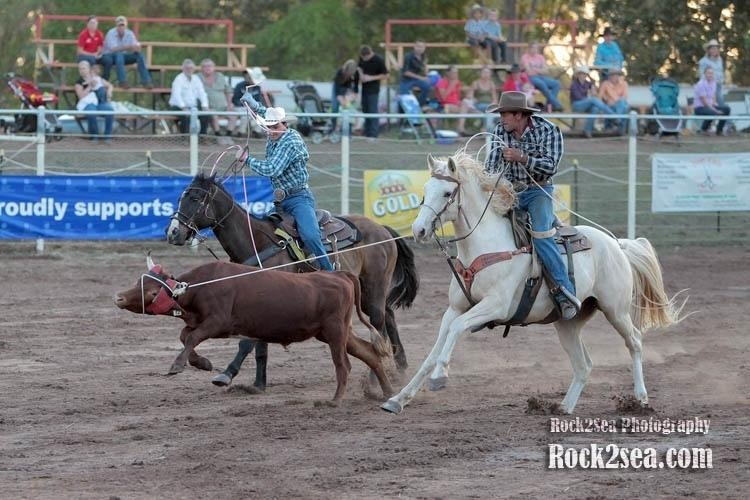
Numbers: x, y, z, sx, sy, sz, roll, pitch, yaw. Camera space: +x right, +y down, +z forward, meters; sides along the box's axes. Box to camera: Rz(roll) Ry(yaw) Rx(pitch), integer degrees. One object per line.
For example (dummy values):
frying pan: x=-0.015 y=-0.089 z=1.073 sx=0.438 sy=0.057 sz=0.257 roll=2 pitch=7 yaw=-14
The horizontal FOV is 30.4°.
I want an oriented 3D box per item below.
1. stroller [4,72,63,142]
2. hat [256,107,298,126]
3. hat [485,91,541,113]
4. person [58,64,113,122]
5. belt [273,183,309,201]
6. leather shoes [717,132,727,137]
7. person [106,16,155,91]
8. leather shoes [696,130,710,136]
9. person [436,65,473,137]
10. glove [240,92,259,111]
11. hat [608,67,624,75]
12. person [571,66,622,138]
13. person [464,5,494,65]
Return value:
stroller: x=-7.431 y=-3.129 z=30.895 sx=1.109 sy=1.298 sz=2.338 roll=0 pitch=16 yaw=-35
hat: x=-1.707 y=-2.195 z=22.981 sx=0.582 sy=0.306 sz=0.366 roll=-4 pitch=7 yaw=-22
hat: x=2.256 y=-2.361 z=22.223 sx=0.761 sy=0.345 sz=0.432 roll=0 pitch=7 yaw=8
person: x=-6.317 y=-3.534 z=30.858 sx=0.956 sy=1.393 sz=0.712 roll=-5 pitch=-19 yaw=-10
belt: x=-1.413 y=-0.962 z=23.128 sx=0.390 sy=0.128 sz=0.322 roll=-5 pitch=-1 yaw=-34
leather shoes: x=7.927 y=-2.631 z=31.397 sx=0.244 sy=0.119 sz=0.061 roll=21 pitch=-32 yaw=-30
person: x=-5.729 y=-4.526 z=31.884 sx=0.761 sy=1.619 sz=1.021 roll=3 pitch=8 yaw=33
leather shoes: x=7.537 y=-2.651 z=31.513 sx=0.101 sy=0.115 sz=0.249 roll=-7 pitch=9 yaw=-41
person: x=1.852 y=-3.471 z=32.346 sx=0.832 sy=1.588 sz=1.534 roll=-1 pitch=7 yaw=2
glove: x=-2.117 y=-2.434 z=23.090 sx=0.365 sy=0.261 sz=0.146 roll=30 pitch=-49 yaw=-20
hat: x=5.778 y=-4.240 z=33.046 sx=0.315 sy=0.138 sz=0.208 roll=-5 pitch=4 yaw=13
person: x=5.144 y=-3.543 z=33.069 sx=0.843 sy=1.651 sz=1.090 roll=-3 pitch=7 yaw=-12
person: x=2.568 y=-5.259 z=33.946 sx=0.604 sy=1.445 sz=1.335 roll=-1 pitch=7 yaw=4
